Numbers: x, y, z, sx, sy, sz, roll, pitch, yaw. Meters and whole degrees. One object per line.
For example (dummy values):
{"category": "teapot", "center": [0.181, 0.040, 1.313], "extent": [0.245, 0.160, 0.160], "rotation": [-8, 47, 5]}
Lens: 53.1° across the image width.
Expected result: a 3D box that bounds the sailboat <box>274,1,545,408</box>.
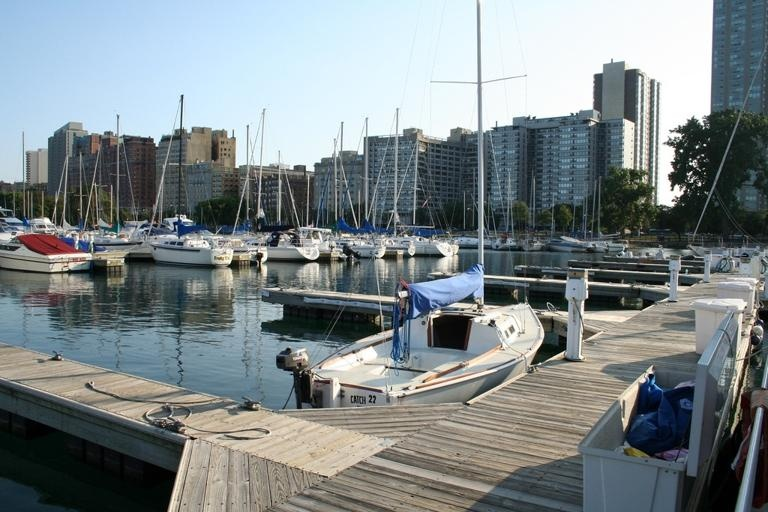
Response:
{"category": "sailboat", "center": [1.197, -1.936, 19.437], "extent": [4.354, 10.965, 8.271], "rotation": [1, 4, 30]}
